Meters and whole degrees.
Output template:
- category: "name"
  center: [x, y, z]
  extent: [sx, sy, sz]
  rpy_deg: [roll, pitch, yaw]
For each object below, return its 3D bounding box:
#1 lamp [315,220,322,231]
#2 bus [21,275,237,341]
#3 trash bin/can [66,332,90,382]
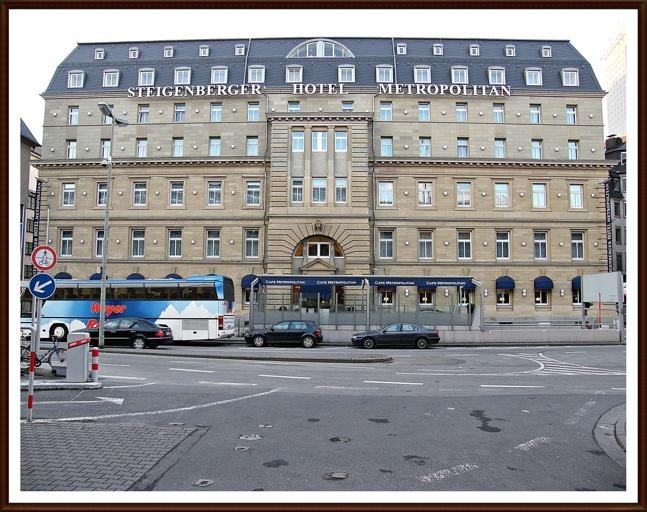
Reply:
- category: "lamp"
  center: [-0.343, -1.964, 46.843]
  extent: [0.605, 0.735, 0.369]
  rpy_deg: [0, 4, -8]
- category: "bus"
  center: [-11.025, 2.524, 37.972]
  extent: [12.825, 3.738, 3.867]
  rpy_deg: [0, -7, 5]
- category: "trash bin/can"
  center: [-7.232, 2.944, 21.386]
  extent: [0.668, 1.403, 0.755]
  rpy_deg: [-1, 4, -20]
